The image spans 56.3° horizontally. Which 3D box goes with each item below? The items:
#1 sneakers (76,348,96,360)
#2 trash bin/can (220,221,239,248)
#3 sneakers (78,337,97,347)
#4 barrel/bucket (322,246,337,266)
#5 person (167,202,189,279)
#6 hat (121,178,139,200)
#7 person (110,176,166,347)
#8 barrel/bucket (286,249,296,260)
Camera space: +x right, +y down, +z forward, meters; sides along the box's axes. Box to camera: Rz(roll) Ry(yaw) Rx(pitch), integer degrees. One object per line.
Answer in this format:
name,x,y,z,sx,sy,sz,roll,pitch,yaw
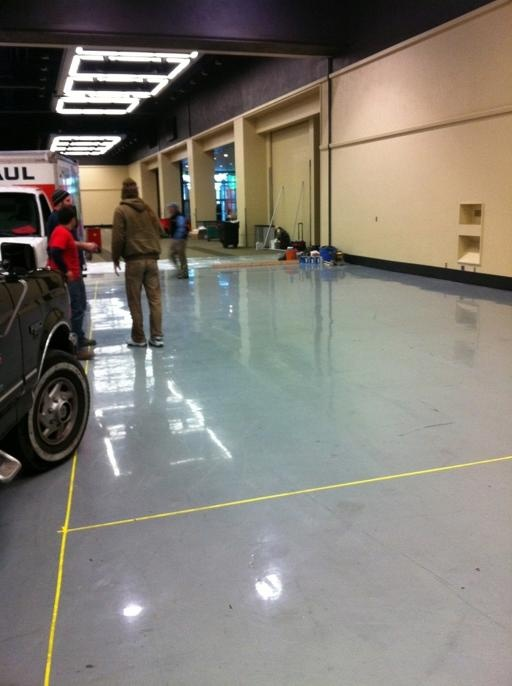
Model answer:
sneakers,-1.737,0.119,4.884,0.164,0.122,0.056,-12,26,-4
trash bin/can,-1.061,-4.459,19.824,0.708,1.060,0.682,-2,11,-2
sneakers,-1.871,-0.001,5.354,0.167,0.073,0.055,-8,16,-28
barrel/bucket,2.096,-2.539,13.964,0.480,0.489,0.496,0,-1,0
person,-1.818,-2.400,11.300,0.468,1.746,1.196,-3,11,-9
hat,-1.359,-1.634,5.137,0.226,0.265,0.259,-5,15,-17
person,-1.300,-0.884,5.337,0.545,1.840,0.670,-4,11,-14
barrel/bucket,1.046,-2.611,14.330,0.299,0.436,0.332,0,8,-7
